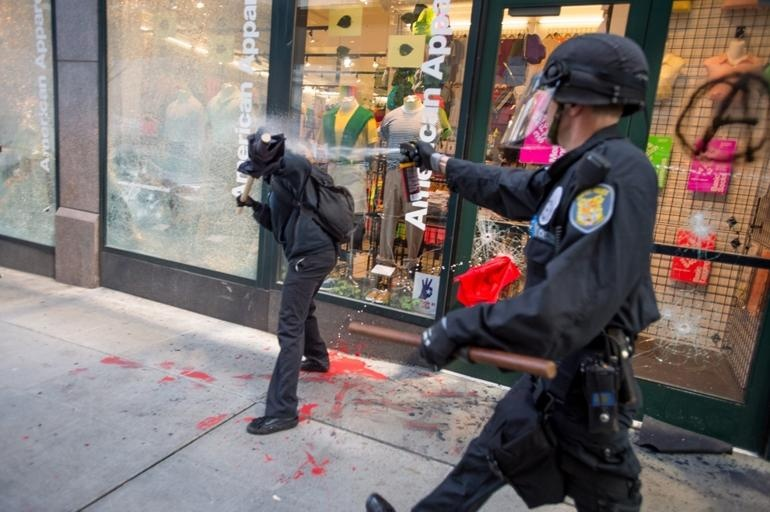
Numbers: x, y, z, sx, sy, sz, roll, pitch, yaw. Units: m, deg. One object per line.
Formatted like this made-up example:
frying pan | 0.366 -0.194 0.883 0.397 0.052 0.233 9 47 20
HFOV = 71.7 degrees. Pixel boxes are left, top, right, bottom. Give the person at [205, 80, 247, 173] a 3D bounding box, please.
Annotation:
person | -1.858 -1.495 6.195 0.238 0.908 0.608 -4 17 -45

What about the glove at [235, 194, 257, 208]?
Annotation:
glove | -1.318 -0.530 5.062 0.271 0.101 0.088 -5 21 1

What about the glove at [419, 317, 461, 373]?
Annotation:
glove | 0.295 0.474 2.874 0.211 0.280 0.143 5 18 4

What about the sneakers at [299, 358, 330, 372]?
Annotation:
sneakers | -0.696 1.080 5.341 0.294 0.117 0.123 7 12 8

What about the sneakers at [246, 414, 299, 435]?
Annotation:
sneakers | -0.921 1.389 4.458 0.341 0.127 0.153 4 6 -18

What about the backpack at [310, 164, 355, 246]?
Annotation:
backpack | -0.466 -0.442 4.806 0.363 0.644 0.480 -15 -4 -8

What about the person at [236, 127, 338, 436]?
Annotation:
person | -0.810 0.170 4.626 0.814 2.396 1.114 -1 18 -14
